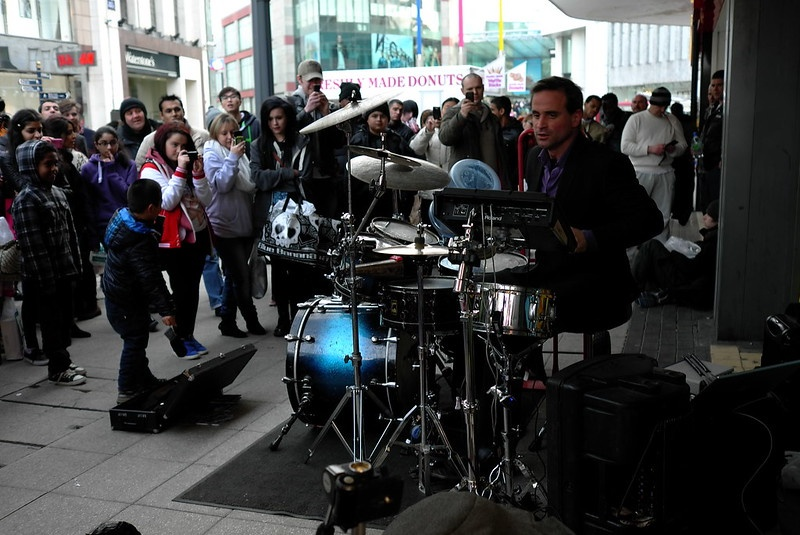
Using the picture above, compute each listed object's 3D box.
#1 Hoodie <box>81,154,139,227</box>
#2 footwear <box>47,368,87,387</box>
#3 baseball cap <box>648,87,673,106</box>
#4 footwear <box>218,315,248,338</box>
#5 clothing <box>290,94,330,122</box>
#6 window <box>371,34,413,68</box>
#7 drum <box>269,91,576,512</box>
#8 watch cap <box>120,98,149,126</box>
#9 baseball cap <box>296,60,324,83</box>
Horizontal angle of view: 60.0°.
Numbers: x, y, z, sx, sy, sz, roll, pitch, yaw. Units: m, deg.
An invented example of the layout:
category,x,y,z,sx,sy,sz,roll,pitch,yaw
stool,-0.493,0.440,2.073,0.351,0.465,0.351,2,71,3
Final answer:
category,x,y,z,sx,sy,sz,roll,pitch,yaw
Hoodie,-3.076,-0.772,7.505,0.702,0.874,0.498,-6,0,-9
footwear,-2.888,0.946,6.044,0.334,0.147,0.136,-3,0,2
baseball cap,3.327,-2.184,8.847,0.240,0.190,0.239,-3,15,-26
footwear,-1.635,0.614,7.032,0.335,0.235,0.133,0,3,1
clothing,-0.957,-1.688,7.298,0.485,0.182,0.369,14,32,23
window,-0.830,-14.575,45.658,3.125,1.572,6.745,5,21,-13
drum,0.347,0.274,4.545,1.548,2.072,2.051,-10,5,-29
watch cap,-2.949,-1.760,7.787,0.255,0.287,0.337,-10,23,-22
baseball cap,-0.975,-2.126,7.506,0.211,0.159,0.285,-4,14,-21
